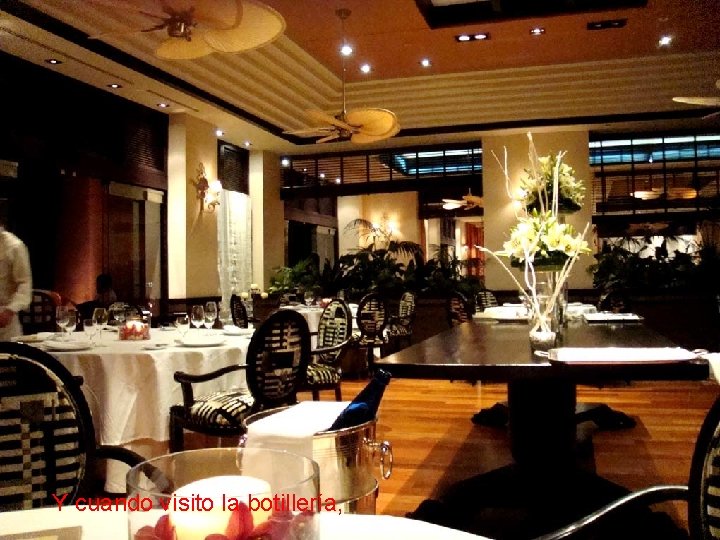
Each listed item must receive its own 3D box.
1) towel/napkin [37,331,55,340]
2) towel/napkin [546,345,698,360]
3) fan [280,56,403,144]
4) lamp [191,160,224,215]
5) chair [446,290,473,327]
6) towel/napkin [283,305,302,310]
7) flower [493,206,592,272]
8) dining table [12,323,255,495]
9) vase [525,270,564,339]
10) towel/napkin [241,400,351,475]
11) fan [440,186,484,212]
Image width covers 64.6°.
[{"bbox_3d":[-1.777,0.374,3.197,0.127,0.037,0.077,-1,-6,3],"label":"towel/napkin"},{"bbox_3d":[0.811,0.267,1.804,0.436,0.021,0.254,-1,-1,3],"label":"towel/napkin"},{"bbox_3d":[-0.160,-1.921,6.554,0.671,0.739,0.677,1,-10,-22],"label":"fan"},{"bbox_3d":[-2.320,-1.234,8.793,0.271,0.549,0.628,-1,-1,8],"label":"lamp"},{"bbox_3d":[1.008,0.400,5.882,0.295,0.286,0.486,0,7,9],"label":"chair"},{"bbox_3d":[-0.626,0.356,5.359,0.213,0.049,0.209,0,-1,6],"label":"towel/napkin"},{"bbox_3d":[0.668,-0.101,2.180,0.274,0.150,0.266,-1,-4,-5],"label":"flower"},{"bbox_3d":[-1.121,0.560,2.946,1.000,0.571,0.986,-1,-1,12],"label":"dining table"},{"bbox_3d":[0.678,0.125,2.094,0.134,0.273,0.239,-1,-1,18],"label":"vase"},{"bbox_3d":[-0.141,0.348,1.259,0.226,0.074,0.180,-1,0,12],"label":"towel/napkin"},{"bbox_3d":[1.949,-1.247,10.546,0.783,0.367,0.807,1,-1,-6],"label":"fan"}]
